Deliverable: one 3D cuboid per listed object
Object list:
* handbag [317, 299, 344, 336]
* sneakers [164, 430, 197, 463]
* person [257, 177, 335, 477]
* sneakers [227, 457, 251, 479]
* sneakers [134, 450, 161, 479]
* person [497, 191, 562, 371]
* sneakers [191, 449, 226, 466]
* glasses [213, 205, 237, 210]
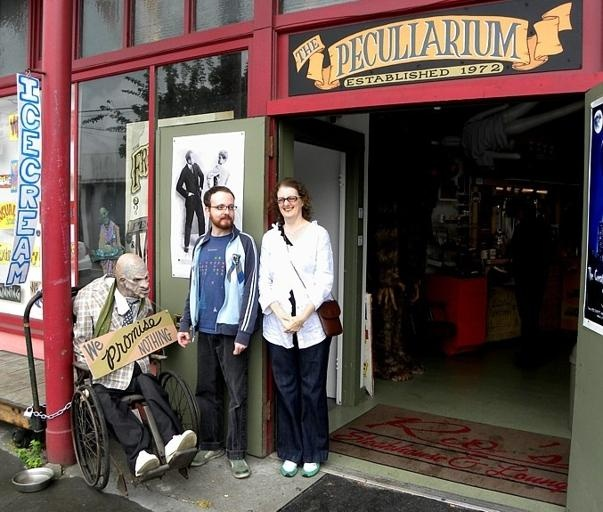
[{"bbox_3d":[0.209,0.447,4.033,0.139,0.258,0.074,-6,-30,-21],"label":"handbag"},{"bbox_3d":[-0.774,1.229,3.673,0.117,0.269,0.131,37,17,-45],"label":"sneakers"},{"bbox_3d":[-0.037,0.515,4.117,0.538,2.139,0.456,0,5,-5],"label":"person"},{"bbox_3d":[-0.438,1.544,4.092,0.146,0.096,0.114,0,6,-7],"label":"sneakers"},{"bbox_3d":[-0.975,1.320,3.579,0.160,0.147,0.152,-2,6,-26],"label":"sneakers"},{"bbox_3d":[2.763,0.367,6.842,0.503,1.907,0.588,2,5,23],"label":"person"},{"bbox_3d":[-0.708,1.528,4.306,0.100,0.117,0.258,-1,-4,39],"label":"sneakers"},{"bbox_3d":[-0.548,-0.346,4.071,0.131,0.043,0.049,-3,7,-29],"label":"glasses"}]
